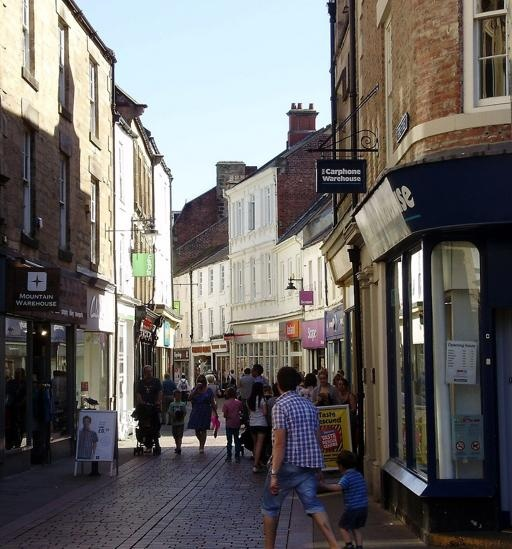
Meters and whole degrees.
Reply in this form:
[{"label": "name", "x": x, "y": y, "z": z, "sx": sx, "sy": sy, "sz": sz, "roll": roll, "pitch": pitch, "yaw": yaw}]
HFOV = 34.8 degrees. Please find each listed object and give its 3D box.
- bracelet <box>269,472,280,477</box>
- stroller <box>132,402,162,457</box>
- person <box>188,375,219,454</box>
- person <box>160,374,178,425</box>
[{"label": "bracelet", "x": 0.144, "y": 1.580, "z": 6.483, "sx": 0.072, "sy": 0.030, "sz": 0.079, "roll": 0, "pitch": -1, "yaw": -23}, {"label": "stroller", "x": -2.363, "y": 3.368, "z": 17.705, "sx": 0.597, "sy": 1.070, "sz": 0.631, "roll": 3, "pitch": -5, "yaw": -40}, {"label": "person", "x": -1.216, "y": 3.130, "z": 18.285, "sx": 0.613, "sy": 1.742, "sz": 2.057, "roll": -2, "pitch": -12, "yaw": -2}, {"label": "person", "x": -2.905, "y": 3.932, "z": 26.698, "sx": 0.418, "sy": 1.615, "sz": 0.435, "roll": 3, "pitch": 24, "yaw": -7}]
